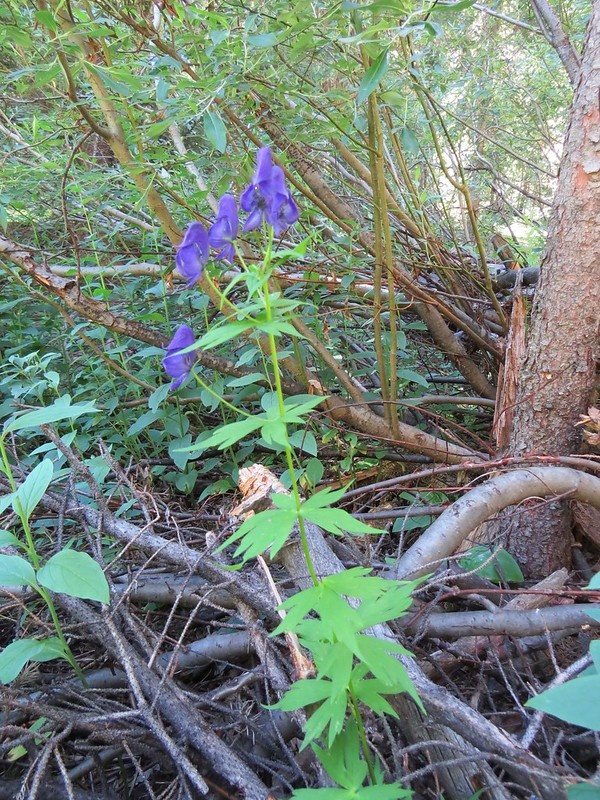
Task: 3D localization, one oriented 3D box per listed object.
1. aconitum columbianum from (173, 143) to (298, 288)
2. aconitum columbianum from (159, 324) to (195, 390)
[{"bbox_3d":[-0.127,-0.403,1.412,0.214,0.304,0.239,13,24,7],"label":"aconitum columbianum"},{"bbox_3d":[-0.281,-0.103,1.477,0.089,0.147,0.134,9,-11,-3],"label":"aconitum columbianum"}]
